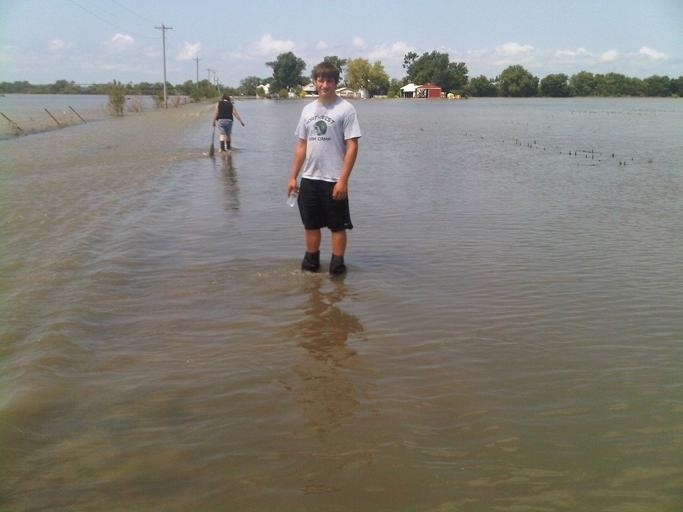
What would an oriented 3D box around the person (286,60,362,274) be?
[{"bbox_3d":[-0.189,-1.044,7.444,0.902,2.606,0.579,18,28,39],"label":"person"}]
